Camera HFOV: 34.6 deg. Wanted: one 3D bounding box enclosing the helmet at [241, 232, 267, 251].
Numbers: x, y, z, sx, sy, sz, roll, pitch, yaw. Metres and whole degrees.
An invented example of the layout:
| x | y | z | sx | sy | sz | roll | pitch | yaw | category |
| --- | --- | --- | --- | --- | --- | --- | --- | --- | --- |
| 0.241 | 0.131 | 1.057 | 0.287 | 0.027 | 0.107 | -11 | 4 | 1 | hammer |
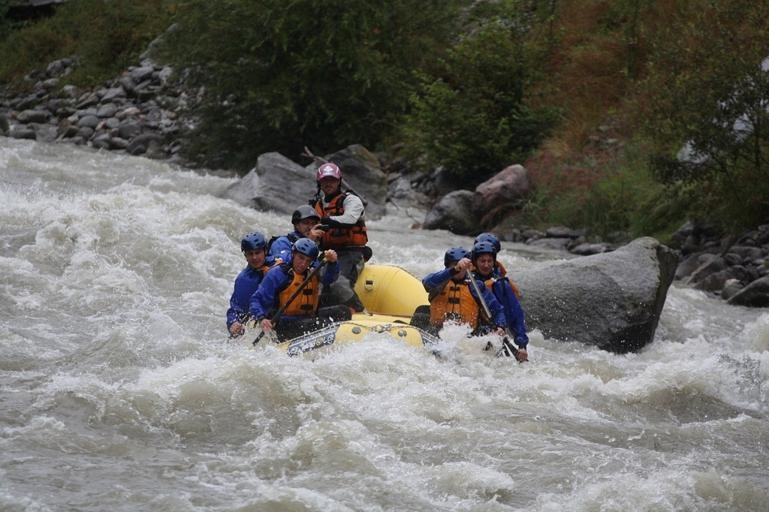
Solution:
| x | y | z | sx | sy | sz | roll | pitch | yaw | category |
| --- | --- | --- | --- | --- | --- | --- | --- | --- | --- |
| -2.715 | -0.274 | 25.032 | 0.352 | 0.441 | 0.399 | 4 | 3 | 0 | helmet |

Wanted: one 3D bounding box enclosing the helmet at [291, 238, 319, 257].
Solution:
| x | y | z | sx | sy | sz | roll | pitch | yaw | category |
| --- | --- | --- | --- | --- | --- | --- | --- | --- | --- |
| -1.637 | -0.118 | 24.639 | 0.329 | 0.443 | 0.346 | 21 | 33 | -22 | helmet |

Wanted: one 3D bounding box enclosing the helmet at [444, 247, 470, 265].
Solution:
| x | y | z | sx | sy | sz | roll | pitch | yaw | category |
| --- | --- | --- | --- | --- | --- | --- | --- | --- | --- |
| 1.409 | 0.032 | 24.937 | 0.337 | 0.391 | 0.432 | 3 | -33 | -6 | helmet |
